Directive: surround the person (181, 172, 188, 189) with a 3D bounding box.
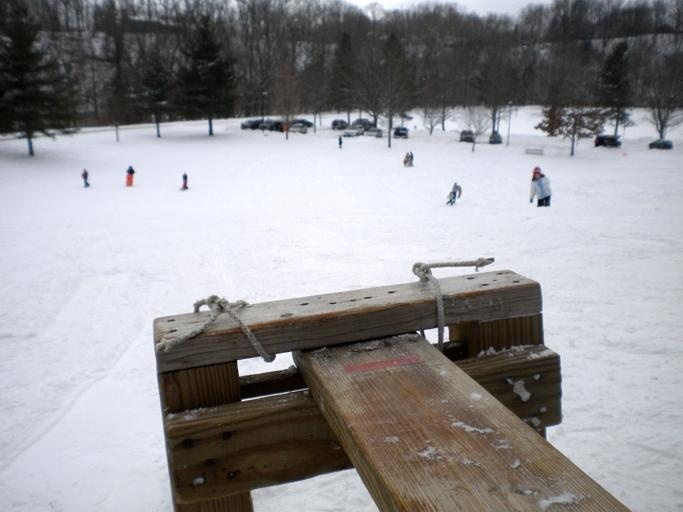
[{"bbox_3d":[-7.429,-3.471,26.039,0.297,0.739,1.603,-8,13,-15],"label":"person"}]

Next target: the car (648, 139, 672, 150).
[{"bbox_3d":[24.576,-8.451,42.417,0.947,0.804,1.558,-1,8,3],"label":"car"}]

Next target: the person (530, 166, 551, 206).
[{"bbox_3d":[6.098,-1.899,16.886,0.588,1.740,0.488,-8,32,17],"label":"person"}]
